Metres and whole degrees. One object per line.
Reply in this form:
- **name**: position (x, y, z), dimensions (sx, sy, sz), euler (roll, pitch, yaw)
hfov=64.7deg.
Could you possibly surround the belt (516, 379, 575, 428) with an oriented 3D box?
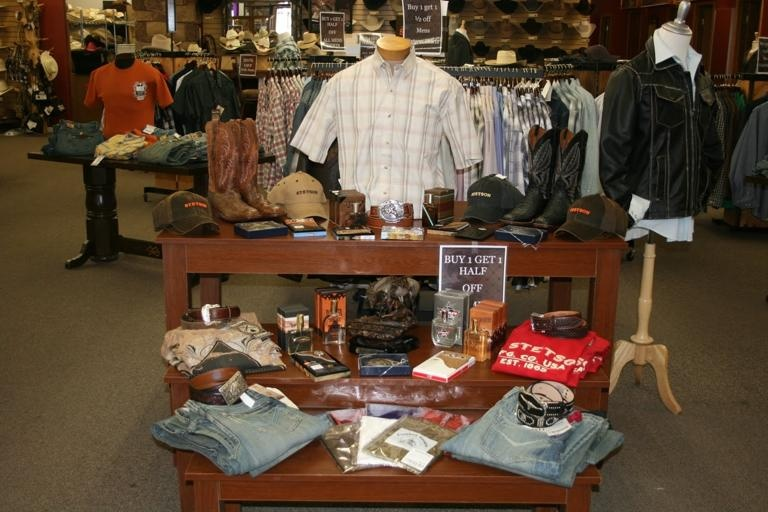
- **belt**: position (0.677, 0.627, 2.556), dimensions (0.262, 0.132, 0.186), euler (-3, 4, -19)

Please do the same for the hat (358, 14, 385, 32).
- **hat**: position (-0.171, -3.482, 9.030), dimensions (0.282, 0.113, 0.288), euler (-1, 50, -1)

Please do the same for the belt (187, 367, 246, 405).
- **belt**: position (-0.691, 0.586, 2.673), dimensions (0.233, 0.085, 0.245), euler (-10, -2, -34)

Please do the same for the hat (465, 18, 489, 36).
- **hat**: position (1.639, -4.024, 10.662), dimensions (0.384, 0.288, 0.142), euler (0, 18, 0)

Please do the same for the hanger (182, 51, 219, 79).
- **hanger**: position (-2.222, -2.395, 7.437), dimensions (0.304, 0.191, 1.415), euler (-6, 18, -17)

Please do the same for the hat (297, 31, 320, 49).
- **hat**: position (-1.021, -2.903, 8.169), dimensions (0.309, 0.152, 0.389), euler (-7, 34, 11)

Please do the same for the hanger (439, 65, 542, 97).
- **hanger**: position (0.869, -1.372, 4.660), dimensions (0.815, 0.197, 0.424), euler (-1, 17, -4)

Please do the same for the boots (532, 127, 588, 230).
- **boots**: position (0.961, -0.396, 3.202), dimensions (0.219, 0.421, 0.643), euler (14, 34, 39)

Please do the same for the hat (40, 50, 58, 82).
- **hat**: position (-6.446, -3.689, 11.662), dimensions (0.186, 0.518, 0.489), euler (-4, 7, 16)

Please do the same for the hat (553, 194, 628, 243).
- **hat**: position (1.063, -0.215, 3.112), dimensions (0.407, 0.203, 0.273), euler (-7, 17, -36)

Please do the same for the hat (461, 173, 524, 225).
- **hat**: position (0.587, -0.339, 3.341), dimensions (0.293, 0.217, 0.439), euler (16, 29, 39)

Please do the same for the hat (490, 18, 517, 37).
- **hat**: position (2.110, -4.042, 10.799), dimensions (0.463, 0.326, 0.088), euler (-6, 19, -19)

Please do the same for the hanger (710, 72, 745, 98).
- **hanger**: position (4.235, -2.099, 7.424), dimensions (0.370, 0.250, 1.958), euler (9, 19, 27)

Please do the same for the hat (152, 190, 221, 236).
- **hat**: position (-1.011, -0.228, 3.102), dimensions (0.295, 0.191, 0.401), euler (-8, 7, -34)

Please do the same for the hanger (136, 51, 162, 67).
- **hanger**: position (-3.002, -2.571, 7.785), dimensions (0.365, 0.100, 0.448), euler (-3, 21, -24)

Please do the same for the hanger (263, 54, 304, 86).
- **hanger**: position (-0.860, -1.649, 5.416), dimensions (0.426, 0.284, 0.158), euler (-1, -24, 1)

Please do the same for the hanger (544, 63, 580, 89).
- **hanger**: position (1.382, -1.453, 4.811), dimensions (0.236, 0.168, 0.444), euler (4, 18, 13)

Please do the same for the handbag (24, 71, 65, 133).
- **handbag**: position (-6.722, -3.064, 11.914), dimensions (0.712, 1.228, 0.834), euler (-14, 23, -36)

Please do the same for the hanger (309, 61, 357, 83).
- **hanger**: position (-0.413, -1.441, 4.691), dimensions (0.329, 0.129, 0.275), euler (-2, 17, -7)

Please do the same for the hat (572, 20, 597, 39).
- **hat**: position (3.659, -4.130, 11.070), dimensions (0.450, 0.293, 0.360), euler (0, 3, 2)

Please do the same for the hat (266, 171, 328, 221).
- **hat**: position (-0.442, -0.318, 3.240), dimensions (0.231, 0.129, 0.322), euler (-6, 27, -29)
